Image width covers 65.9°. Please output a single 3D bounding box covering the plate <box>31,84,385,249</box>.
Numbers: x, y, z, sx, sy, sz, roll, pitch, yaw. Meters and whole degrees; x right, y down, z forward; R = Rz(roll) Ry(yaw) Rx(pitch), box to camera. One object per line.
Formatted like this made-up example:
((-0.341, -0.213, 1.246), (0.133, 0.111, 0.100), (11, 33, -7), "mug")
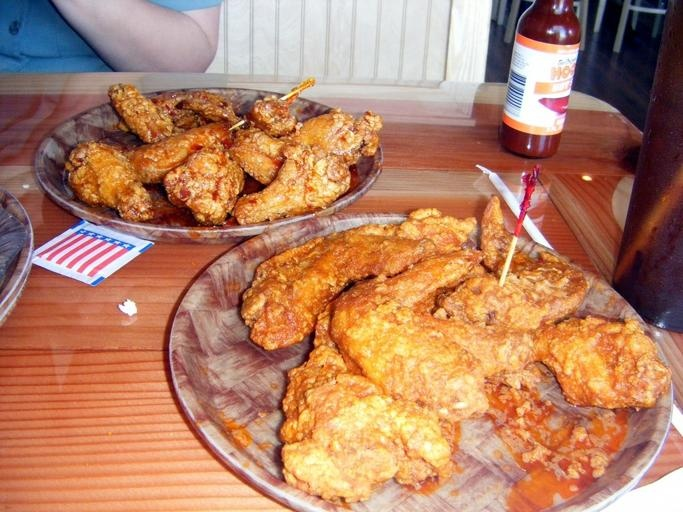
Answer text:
((-0.345, -0.217, 1.330), (0.663, 0.088, 0.597), (-16, 40, -28), "plate")
